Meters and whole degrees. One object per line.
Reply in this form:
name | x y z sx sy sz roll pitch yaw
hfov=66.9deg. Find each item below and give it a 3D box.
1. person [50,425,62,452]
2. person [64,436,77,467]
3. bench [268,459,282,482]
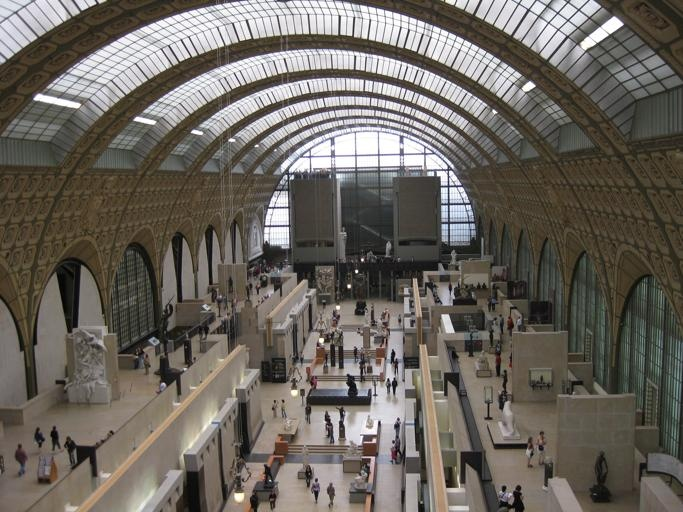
person | -12.526 7.732 22.542 0.372 0.928 1.411 -7 11 -31
person | -10.919 7.774 20.842 0.316 1.085 1.341 -7 11 -31
bench | -3.775 11.717 28.862 0.771 0.376 1.599 -2 11 2
